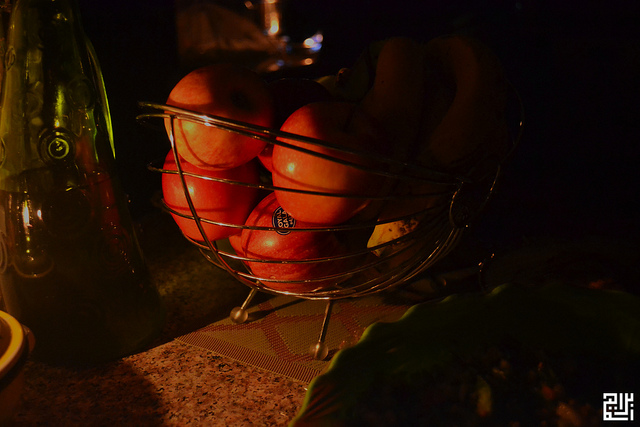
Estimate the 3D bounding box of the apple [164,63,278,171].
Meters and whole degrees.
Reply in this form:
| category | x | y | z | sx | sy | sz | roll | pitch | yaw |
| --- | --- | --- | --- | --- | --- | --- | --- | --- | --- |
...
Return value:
| category | x | y | z | sx | sy | sz | roll | pitch | yaw |
| --- | --- | --- | --- | --- | --- | --- | --- | --- | --- |
| apple | -0.114 | -0.108 | 0.618 | 0.136 | 0.126 | 0.110 | 4 | 28 | -19 |

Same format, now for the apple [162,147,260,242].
| category | x | y | z | sx | sy | sz | roll | pitch | yaw |
| --- | --- | --- | --- | --- | --- | --- | --- | --- | --- |
| apple | -0.135 | -0.033 | 0.736 | 0.125 | 0.141 | 0.122 | -1 | 8 | 1 |

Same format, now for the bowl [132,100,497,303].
| category | x | y | z | sx | sy | sz | roll | pitch | yaw |
| --- | --- | --- | --- | --- | --- | --- | --- | --- | --- |
| bowl | -0.035 | -0.012 | 0.641 | 0.335 | 0.173 | 0.322 | 0 | 2 | 0 |

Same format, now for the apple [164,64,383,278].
| category | x | y | z | sx | sy | sz | roll | pitch | yaw |
| --- | --- | --- | --- | --- | --- | --- | --- | --- | --- |
| apple | -0.052 | -0.053 | 0.692 | 0.273 | 0.270 | 0.135 | 17 | 64 | 5 |

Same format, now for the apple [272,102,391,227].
| category | x | y | z | sx | sy | sz | roll | pitch | yaw |
| --- | --- | --- | --- | --- | --- | --- | --- | --- | --- |
| apple | 0.015 | -0.071 | 0.646 | 0.151 | 0.156 | 0.150 | -5 | 62 | -13 |

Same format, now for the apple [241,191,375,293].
| category | x | y | z | sx | sy | sz | roll | pitch | yaw |
| --- | --- | --- | --- | --- | --- | --- | --- | --- | --- |
| apple | -0.013 | 0.033 | 0.699 | 0.174 | 0.138 | 0.141 | -3 | -10 | 0 |
